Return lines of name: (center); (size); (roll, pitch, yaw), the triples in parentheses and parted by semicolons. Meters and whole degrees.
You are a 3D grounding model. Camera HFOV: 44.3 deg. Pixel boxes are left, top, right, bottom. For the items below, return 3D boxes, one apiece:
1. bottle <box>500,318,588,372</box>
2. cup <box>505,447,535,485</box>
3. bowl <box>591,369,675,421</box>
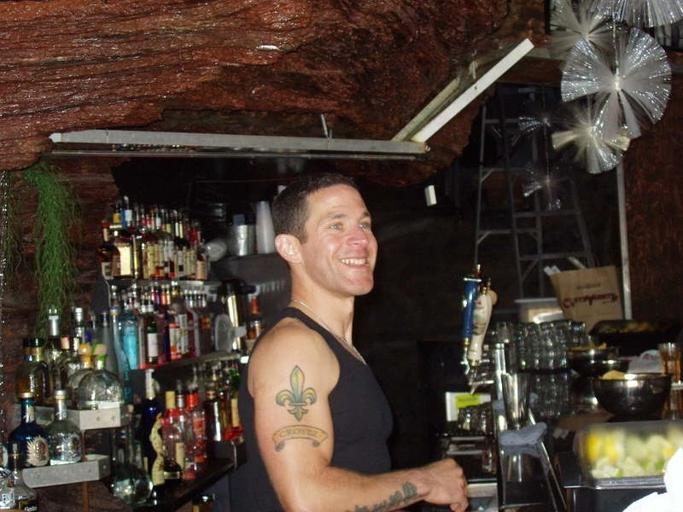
bottle: (0.987, 0.431, 4.046); (0.310, 0.153, 0.265); (1, -4, -29)
cup: (0.677, 0.804, 3.204); (0.101, 0.098, 0.192); (-4, -5, 10)
bowl: (1.100, 0.540, 3.242); (0.335, 0.139, 0.308); (-2, -3, 0)
